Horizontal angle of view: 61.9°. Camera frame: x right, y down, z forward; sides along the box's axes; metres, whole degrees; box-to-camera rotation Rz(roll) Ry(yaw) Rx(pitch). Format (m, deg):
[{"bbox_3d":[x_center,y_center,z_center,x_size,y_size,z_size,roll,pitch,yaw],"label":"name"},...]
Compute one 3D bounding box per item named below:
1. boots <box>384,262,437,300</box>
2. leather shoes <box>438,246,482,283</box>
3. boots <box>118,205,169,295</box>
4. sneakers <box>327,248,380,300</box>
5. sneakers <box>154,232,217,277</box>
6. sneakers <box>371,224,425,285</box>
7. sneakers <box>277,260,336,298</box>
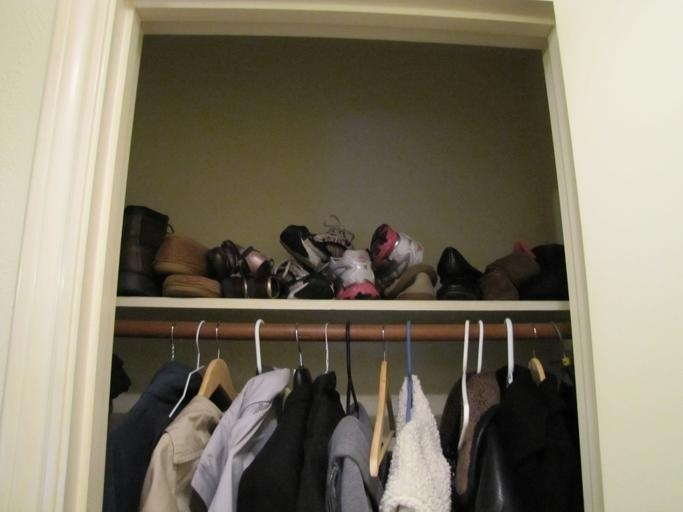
[{"bbox_3d":[0.181,0.080,1.559,0.148,0.106,0.089,-11,-41,34],"label":"boots"},{"bbox_3d":[0.320,0.023,1.542,0.119,0.073,0.108,-3,-3,11],"label":"leather shoes"},{"bbox_3d":[-0.502,-0.015,1.448,0.120,0.231,0.088,-2,-2,-20],"label":"boots"},{"bbox_3d":[0.037,0.046,1.554,0.134,0.139,0.180,-3,-2,-2],"label":"sneakers"},{"bbox_3d":[-0.403,0.004,1.479,0.094,0.101,0.130,24,3,44],"label":"sneakers"},{"bbox_3d":[0.151,-0.021,1.664,0.185,0.112,0.089,-42,2,16],"label":"sneakers"},{"bbox_3d":[-0.083,0.056,1.526,0.152,0.116,0.298,-2,-3,-21],"label":"sneakers"}]
